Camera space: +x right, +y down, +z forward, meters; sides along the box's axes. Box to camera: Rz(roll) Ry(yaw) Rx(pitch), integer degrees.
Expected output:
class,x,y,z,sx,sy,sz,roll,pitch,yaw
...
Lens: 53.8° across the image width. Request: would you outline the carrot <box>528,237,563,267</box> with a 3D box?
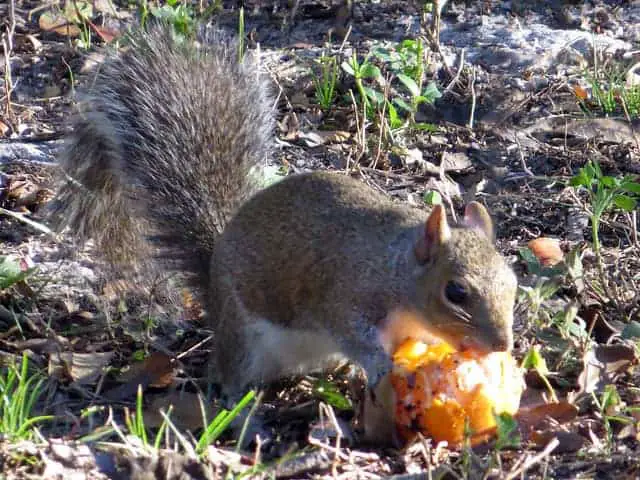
class,x,y,z,sx,sy,sz,roll,pitch,yaw
carrot,1.640,0.082,4.583,0.195,0.123,0.239,-5,13,10
